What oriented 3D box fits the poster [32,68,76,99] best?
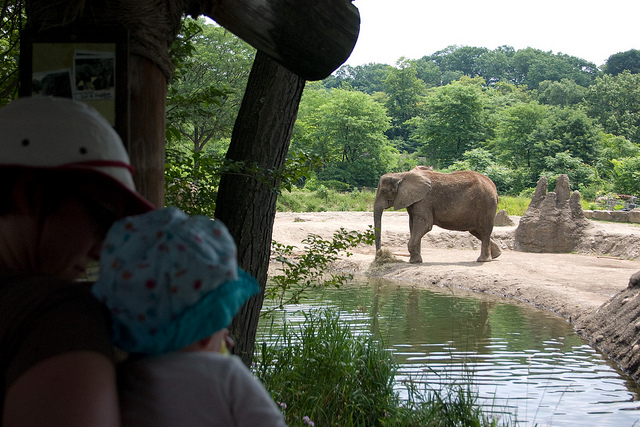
[{"bbox_3d":[-1.209,-0.579,2.544,0.212,0.139,0.006,-2,-4,6],"label":"poster"}]

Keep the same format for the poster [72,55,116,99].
[{"bbox_3d":[-1.025,-0.616,2.540,0.019,0.224,0.235,18,23,26],"label":"poster"}]

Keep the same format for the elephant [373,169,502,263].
[{"bbox_3d":[4.424,-0.013,18.808,5.275,3.628,2.242,2,-4,-1],"label":"elephant"}]
